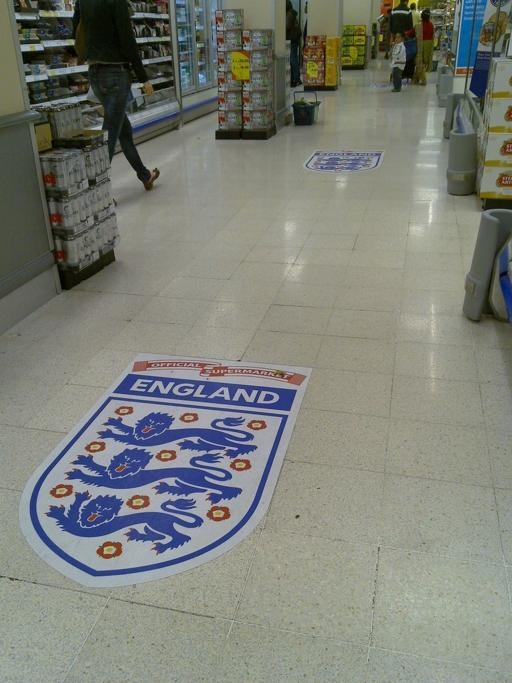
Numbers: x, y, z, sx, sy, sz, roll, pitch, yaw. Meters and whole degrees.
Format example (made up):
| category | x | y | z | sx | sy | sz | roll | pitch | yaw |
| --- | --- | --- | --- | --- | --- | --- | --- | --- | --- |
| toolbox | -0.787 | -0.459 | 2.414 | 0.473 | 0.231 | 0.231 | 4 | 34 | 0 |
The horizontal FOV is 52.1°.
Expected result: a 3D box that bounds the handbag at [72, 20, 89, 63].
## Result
| category | x | y | z | sx | sy | sz | roll | pitch | yaw |
| --- | --- | --- | --- | --- | --- | --- | --- | --- | --- |
| handbag | -1.551 | -2.613 | 4.575 | 0.105 | 0.277 | 0.345 | -10 | 26 | -13 |
